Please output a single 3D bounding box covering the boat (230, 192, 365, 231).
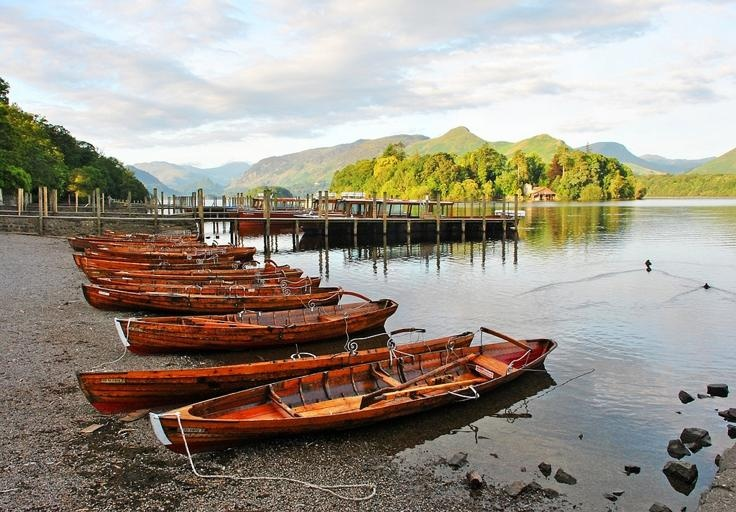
[{"bbox_3d":[-6.333,-4.580,59.407,14.365,3.687,2.764,3,3,7],"label":"boat"}]
